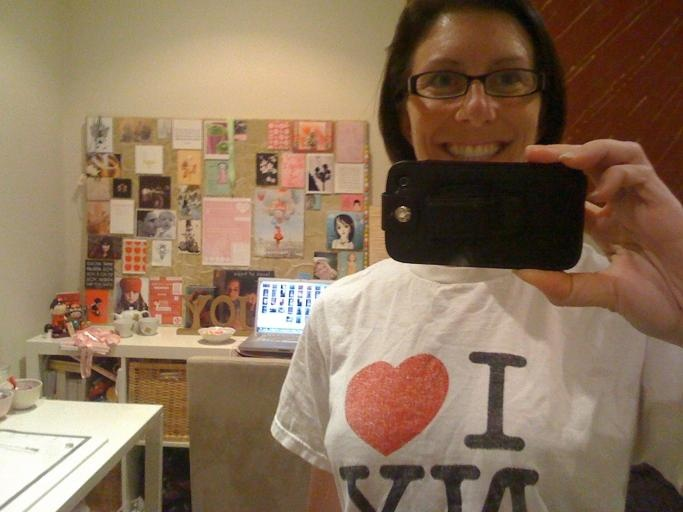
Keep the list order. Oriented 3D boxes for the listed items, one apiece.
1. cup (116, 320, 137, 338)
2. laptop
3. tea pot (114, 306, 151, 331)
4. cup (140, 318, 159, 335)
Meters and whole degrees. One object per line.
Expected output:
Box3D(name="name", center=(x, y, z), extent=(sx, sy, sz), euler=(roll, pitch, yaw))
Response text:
Box3D(name="cup", center=(-0.980, 0.330, 2.695), extent=(0.082, 0.059, 0.079), euler=(0, 3, 0))
Box3D(name="laptop", center=(-0.274, 0.261, 2.587), extent=(0.412, 0.251, 0.318), euler=(1, -2, 7))
Box3D(name="tea pot", center=(-1.003, 0.302, 2.832), extent=(0.098, 0.062, 0.148), euler=(-1, 1, -1))
Box3D(name="cup", center=(-0.897, 0.331, 2.774), extent=(0.080, 0.057, 0.079), euler=(-1, 1, 0))
